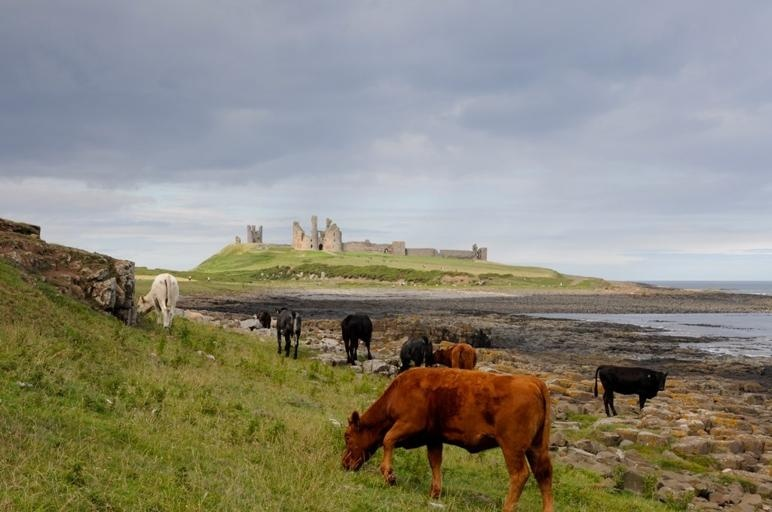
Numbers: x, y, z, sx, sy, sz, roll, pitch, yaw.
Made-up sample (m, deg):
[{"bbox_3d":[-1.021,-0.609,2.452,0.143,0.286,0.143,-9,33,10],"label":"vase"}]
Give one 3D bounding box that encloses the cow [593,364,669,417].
[{"bbox_3d":[11.826,6.464,28.017,4.301,2.483,1.994,2,1,-32],"label":"cow"}]
